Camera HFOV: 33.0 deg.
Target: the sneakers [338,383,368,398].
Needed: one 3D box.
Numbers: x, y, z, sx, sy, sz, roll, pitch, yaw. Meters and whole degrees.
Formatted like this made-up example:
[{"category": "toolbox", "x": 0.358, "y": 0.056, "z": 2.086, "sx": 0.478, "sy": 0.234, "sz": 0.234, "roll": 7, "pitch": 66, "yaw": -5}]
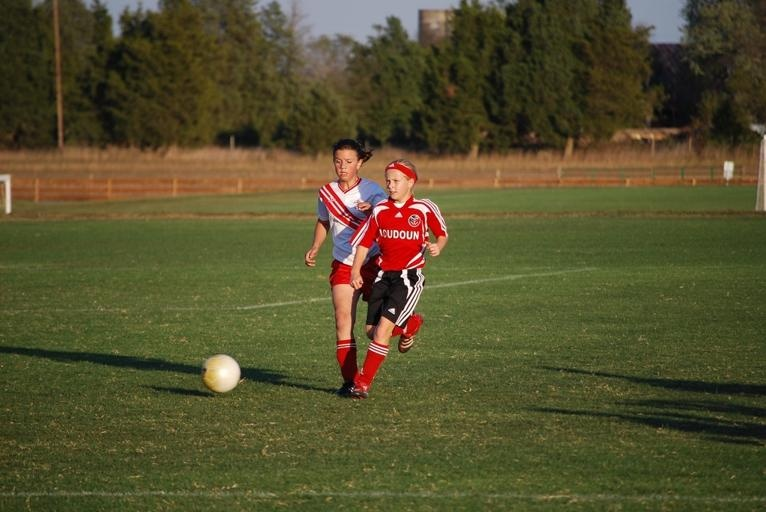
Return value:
[{"category": "sneakers", "x": -0.569, "y": 2.426, "z": 23.442, "sx": 0.553, "sy": 0.261, "sz": 0.220, "roll": 0, "pitch": 19, "yaw": 9}]
